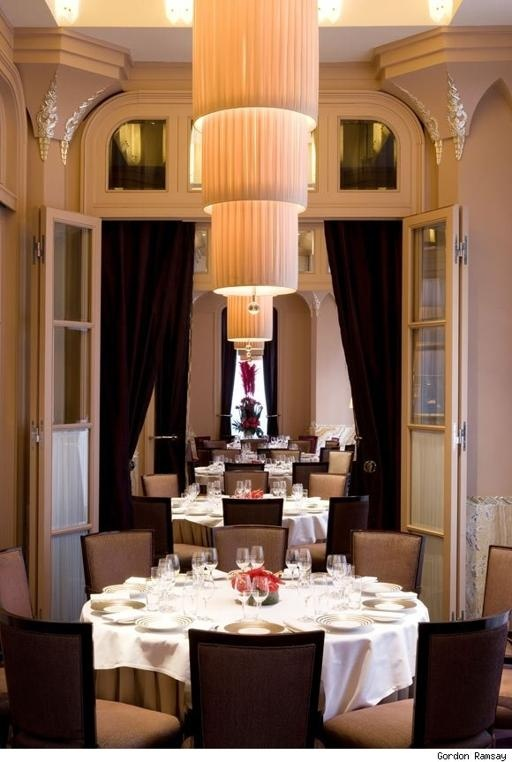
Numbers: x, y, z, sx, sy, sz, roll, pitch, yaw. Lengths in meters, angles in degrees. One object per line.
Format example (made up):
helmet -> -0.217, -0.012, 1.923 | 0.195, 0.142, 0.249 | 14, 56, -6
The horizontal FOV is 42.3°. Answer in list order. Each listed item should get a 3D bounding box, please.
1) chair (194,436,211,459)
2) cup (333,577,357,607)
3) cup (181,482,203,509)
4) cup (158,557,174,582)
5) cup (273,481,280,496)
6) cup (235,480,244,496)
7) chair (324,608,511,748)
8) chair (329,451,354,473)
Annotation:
chair -> -0.896, 1.133, 11.435 | 0.225, 0.485, 0.271 | 0, -2, 18
cup -> 0.359, 0.851, 2.663 | 0.095, 0.174, 0.121 | 1, -2, 3
cup -> -0.528, 0.952, 5.448 | 0.125, 0.328, 0.170 | 1, 3, -3
cup -> -0.354, 0.722, 2.581 | 0.057, 0.140, 0.075 | 2, -3, -12
cup -> 0.170, 0.891, 5.463 | 0.068, 0.191, 0.082 | 2, -4, 4
cup -> -0.130, 0.851, 5.235 | 0.047, 0.085, 0.156 | 1, 0, -2
chair -> 0.499, 0.935, 2.076 | 0.338, 0.530, 0.529 | 1, 0, -38
chair -> 1.002, 0.939, 7.947 | 0.202, 0.451, 0.287 | -1, -5, 25
